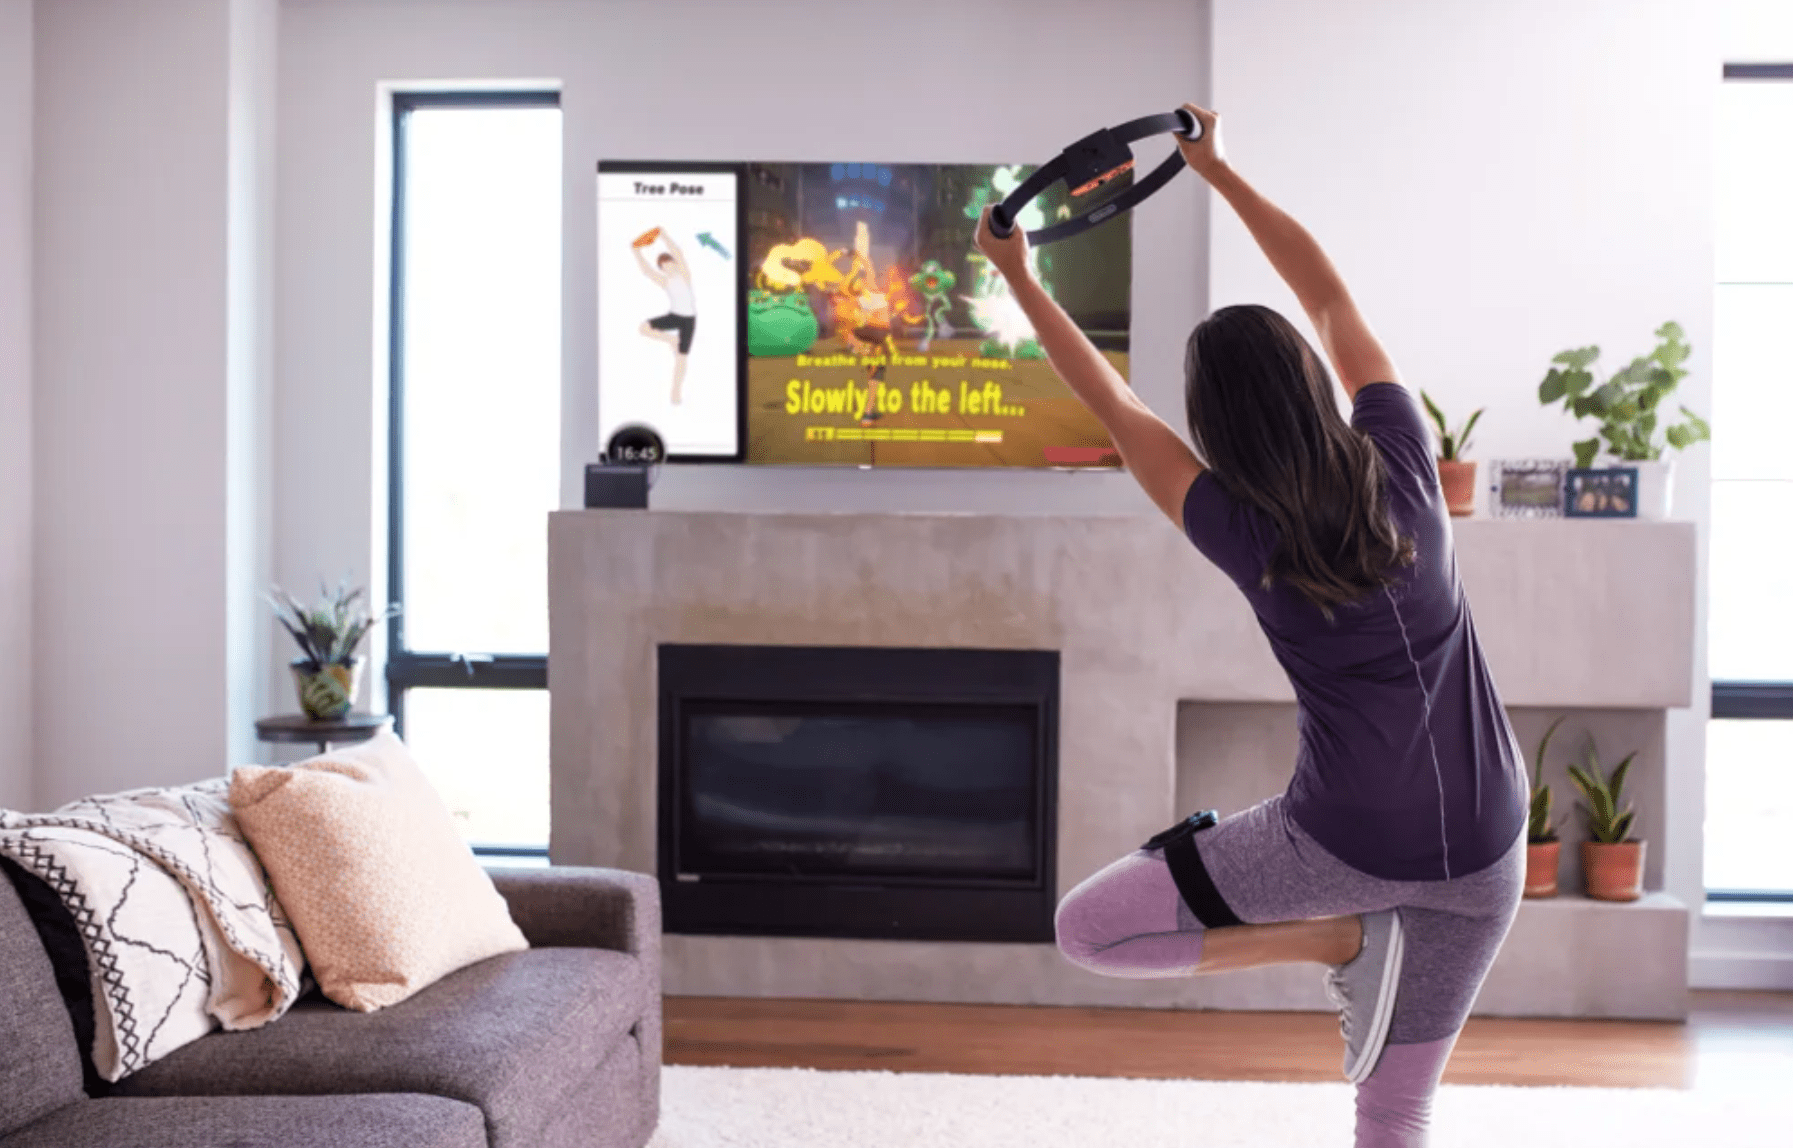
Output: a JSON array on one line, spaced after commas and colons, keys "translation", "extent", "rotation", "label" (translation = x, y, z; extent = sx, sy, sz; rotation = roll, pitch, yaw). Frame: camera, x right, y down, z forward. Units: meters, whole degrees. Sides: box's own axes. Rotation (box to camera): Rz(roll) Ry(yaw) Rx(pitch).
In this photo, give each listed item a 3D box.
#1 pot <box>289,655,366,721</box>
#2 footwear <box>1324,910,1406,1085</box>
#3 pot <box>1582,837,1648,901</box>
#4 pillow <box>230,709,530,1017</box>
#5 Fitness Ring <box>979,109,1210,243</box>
[{"translation": [-2.006, 0.407, 5.665], "extent": [0.215, 0.206, 0.222], "rotation": [1, -1, 0], "label": "pot"}, {"translation": [1.186, 1.070, 4.110], "extent": [0.186, 0.395, 0.210], "rotation": [5, 5, 16], "label": "footwear"}, {"translation": [2.455, 1.020, 5.570], "extent": [0.207, 0.189, 0.204], "rotation": [1, -2, 0], "label": "pot"}, {"translation": [-1.368, 0.817, 4.662], "extent": [0.652, 0.734, 1.013], "rotation": [0, 0, 7], "label": "pillow"}, {"translation": [0.510, -1.002, 4.149], "extent": [0.584, 0.097, 0.408], "rotation": [-27, -14, 5], "label": "Fitness Ring"}]
